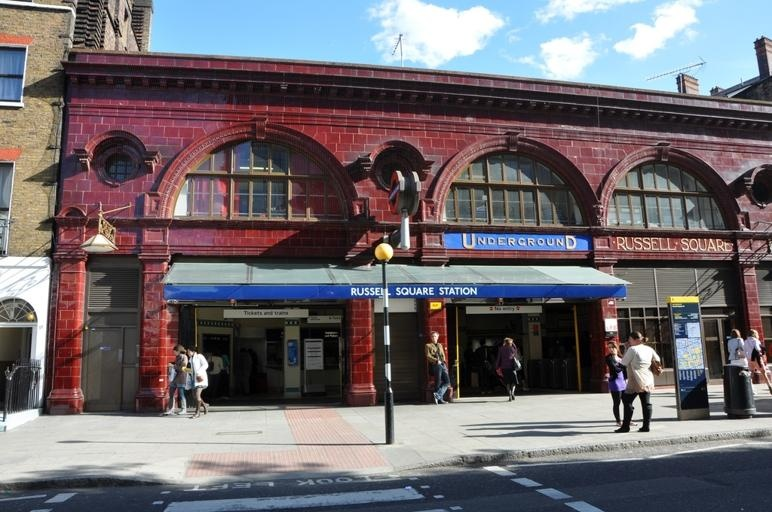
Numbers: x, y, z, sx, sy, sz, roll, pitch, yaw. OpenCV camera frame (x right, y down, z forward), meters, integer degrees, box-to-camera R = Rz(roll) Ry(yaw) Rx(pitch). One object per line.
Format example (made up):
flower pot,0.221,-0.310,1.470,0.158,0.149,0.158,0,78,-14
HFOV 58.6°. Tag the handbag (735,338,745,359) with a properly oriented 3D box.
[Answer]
handbag,11.806,3.040,22.848,0.369,0.628,0.248,1,-10,-22

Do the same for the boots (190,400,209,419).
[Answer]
boots,-6.110,5.082,22.604,0.336,0.413,0.994,-1,-16,-3

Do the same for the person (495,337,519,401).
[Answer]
person,4.385,4.035,24.768,0.837,2.206,1.420,-4,-10,8

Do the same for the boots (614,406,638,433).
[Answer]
boots,6.473,4.445,18.734,0.474,0.706,0.262,-7,-10,22

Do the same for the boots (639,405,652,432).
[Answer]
boots,7.098,4.439,18.865,0.356,0.678,0.709,-6,-10,18

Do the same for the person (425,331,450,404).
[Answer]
person,1.794,3.886,23.956,0.741,2.455,1.086,-4,-10,5

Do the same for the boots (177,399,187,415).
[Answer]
boots,-6.671,4.938,22.557,0.247,0.483,0.517,-1,-10,-12

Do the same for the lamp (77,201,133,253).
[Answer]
lamp,-9.279,-1.057,22.922,1.282,1.750,1.643,-8,-15,43
